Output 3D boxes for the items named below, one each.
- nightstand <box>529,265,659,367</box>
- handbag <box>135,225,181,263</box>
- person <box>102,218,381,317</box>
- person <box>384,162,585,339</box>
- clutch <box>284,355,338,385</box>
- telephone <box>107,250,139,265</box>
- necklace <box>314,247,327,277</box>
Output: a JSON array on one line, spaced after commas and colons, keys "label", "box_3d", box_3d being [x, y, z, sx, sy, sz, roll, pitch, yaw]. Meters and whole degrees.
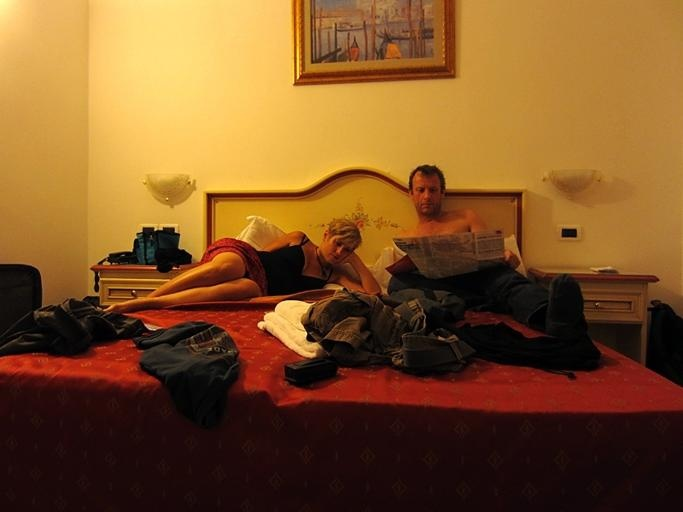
[{"label": "nightstand", "box_3d": [1.611, 0.259, 3.836, 0.875, 0.884, 0.698, 1, 6, 7]}, {"label": "handbag", "box_3d": [-1.308, -0.078, 4.100, 0.313, 0.316, 0.251, -9, -12, 43]}, {"label": "person", "box_3d": [-0.527, 0.085, 3.547, 1.414, 0.458, 0.775, -5, 23, -30]}, {"label": "person", "box_3d": [0.708, -0.107, 3.411, 0.862, 1.121, 1.944, -7, 3, 1]}, {"label": "clutch", "box_3d": [-0.114, 0.419, 2.142, 0.145, 0.069, 0.096, -8, 11, -36]}, {"label": "telephone", "box_3d": [-1.603, 0.015, 4.078, 0.151, 0.063, 0.126, -7, 8, -39]}, {"label": "necklace", "box_3d": [-0.139, 0.048, 3.799, 0.060, 0.214, 0.049, -18, 3, -18]}]
